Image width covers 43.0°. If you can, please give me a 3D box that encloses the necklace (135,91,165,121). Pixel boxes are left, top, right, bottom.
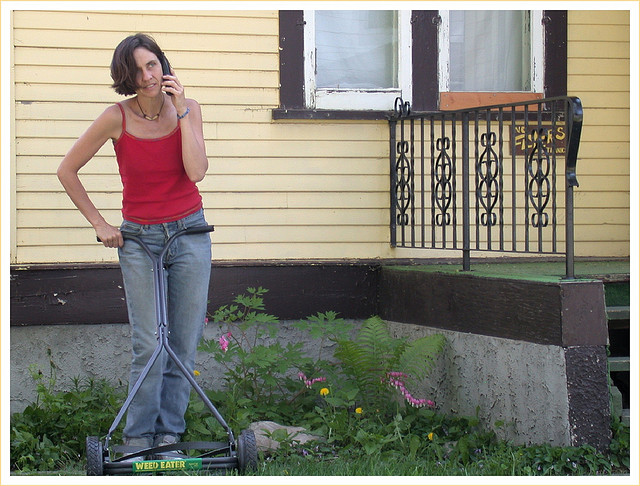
[{"bbox_3d":[-1.151,-0.926,5.522,0.189,0.191,0.060,-3,3,-12],"label":"necklace"}]

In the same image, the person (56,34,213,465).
[{"bbox_3d":[-1.189,0.076,5.567,0.891,2.942,1.063,-3,4,-21],"label":"person"}]

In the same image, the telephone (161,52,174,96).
[{"bbox_3d":[-1.024,-1.126,5.449,0.076,0.286,0.180,-2,4,-10],"label":"telephone"}]

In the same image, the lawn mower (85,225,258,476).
[{"bbox_3d":[-1.087,0.738,5.665,1.061,1.709,1.179,-3,4,-14],"label":"lawn mower"}]

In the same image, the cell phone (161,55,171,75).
[{"bbox_3d":[-1.052,-1.215,5.543,0.058,0.154,0.214,-2,4,-10],"label":"cell phone"}]

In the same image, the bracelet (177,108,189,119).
[{"bbox_3d":[-0.918,-0.867,5.457,0.061,0.017,0.056,-44,27,-14],"label":"bracelet"}]
